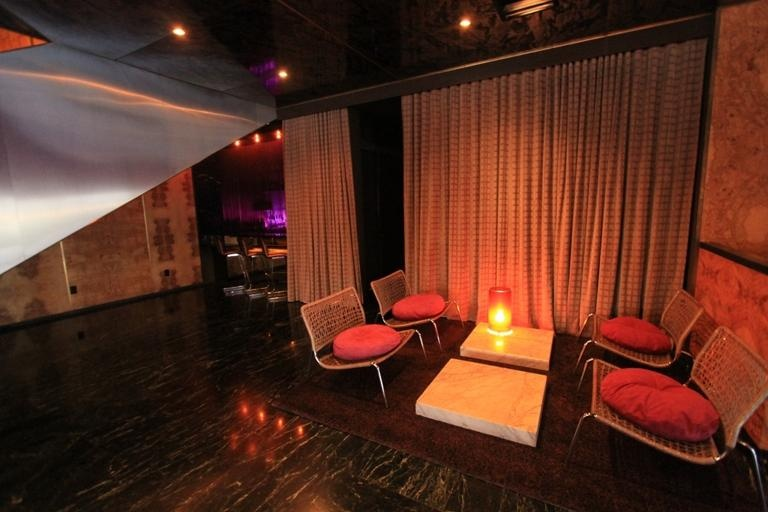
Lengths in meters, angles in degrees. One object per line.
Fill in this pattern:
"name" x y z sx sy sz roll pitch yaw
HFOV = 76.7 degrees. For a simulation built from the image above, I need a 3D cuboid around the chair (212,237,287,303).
"chair" -2.173 0.197 8.276 1.033 1.092 1.632 -8 13 -31
